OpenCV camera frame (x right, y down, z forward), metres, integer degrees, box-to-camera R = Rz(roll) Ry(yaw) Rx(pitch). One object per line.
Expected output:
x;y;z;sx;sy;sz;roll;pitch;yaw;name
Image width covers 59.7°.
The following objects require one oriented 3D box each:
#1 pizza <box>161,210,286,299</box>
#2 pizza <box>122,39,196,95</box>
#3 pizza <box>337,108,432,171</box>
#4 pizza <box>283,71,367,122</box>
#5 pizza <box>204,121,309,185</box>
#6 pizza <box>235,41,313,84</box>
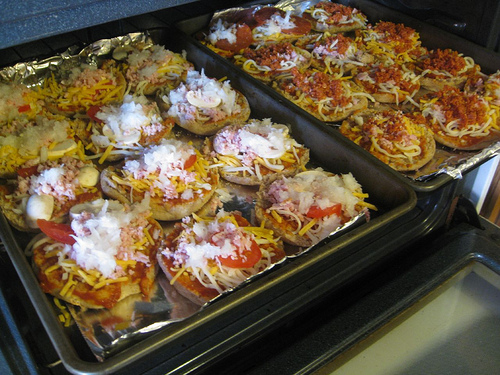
-0.138;0.263;1.907;0.482;0.182;0.400;-31;56;-19;pizza
-0.605;-0.766;2.745;0.466;0.175;0.381;-2;58;-8;pizza
0.770;-0.240;2.492;0.437;0.144;0.476;27;43;25;pizza
0.437;-0.535;2.770;0.508;0.129;0.354;16;49;13;pizza
0.020;-0.183;2.298;0.554;0.175;0.337;-13;60;-11;pizza
0.176;-0.853;2.932;0.465;0.137;0.361;-32;50;-29;pizza
